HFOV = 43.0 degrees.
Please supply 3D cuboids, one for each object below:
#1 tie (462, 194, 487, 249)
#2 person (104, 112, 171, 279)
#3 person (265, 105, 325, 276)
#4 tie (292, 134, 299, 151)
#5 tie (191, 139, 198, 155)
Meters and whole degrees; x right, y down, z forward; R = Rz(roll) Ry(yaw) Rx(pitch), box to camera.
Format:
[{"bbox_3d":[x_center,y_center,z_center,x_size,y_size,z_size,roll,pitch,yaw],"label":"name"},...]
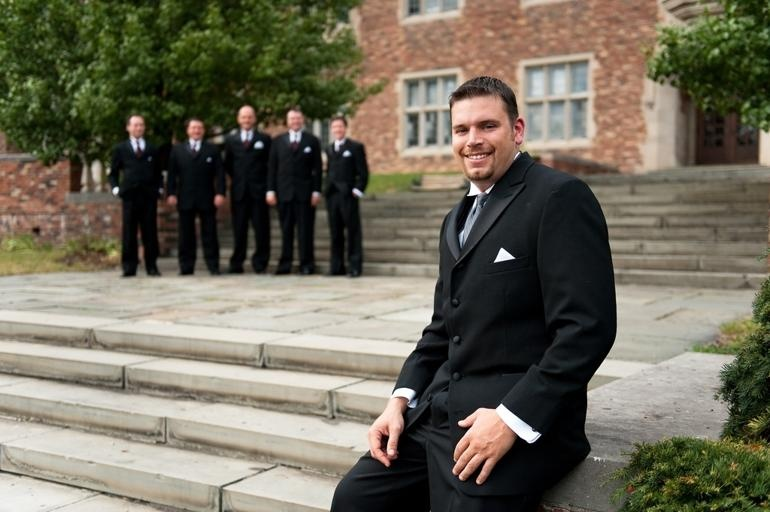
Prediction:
[{"bbox_3d":[0.732,-0.310,8.268,0.126,0.407,0.296,25,-13,1],"label":"tie"},{"bbox_3d":[-3.970,-0.966,15.575,0.638,2.564,0.697,-1,2,21],"label":"person"},{"bbox_3d":[-1.429,-1.022,15.859,0.851,2.629,0.594,-1,2,38],"label":"person"},{"bbox_3d":[-1.459,-1.859,15.833,0.175,0.229,0.094,2,-5,-4],"label":"tie"},{"bbox_3d":[-3.081,-1.791,15.810,0.134,0.178,0.066,1,0,-9],"label":"tie"}]
